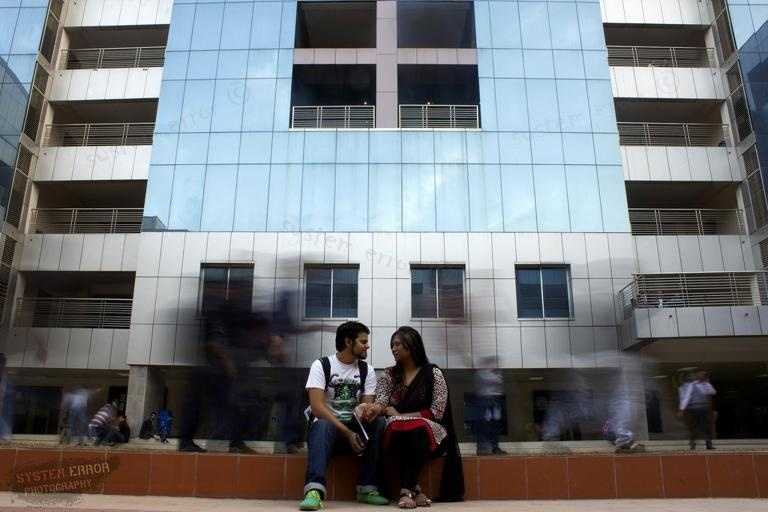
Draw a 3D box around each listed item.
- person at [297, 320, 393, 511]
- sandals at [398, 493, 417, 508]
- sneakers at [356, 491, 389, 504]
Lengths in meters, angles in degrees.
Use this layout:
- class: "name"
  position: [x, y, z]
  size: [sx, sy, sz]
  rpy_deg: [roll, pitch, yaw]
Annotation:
- class: "person"
  position: [-0.700, 2.714, 10.843]
  size: [1.405, 3.157, 0.817]
  rpy_deg: [3, -15, -7]
- class: "sandals"
  position: [0.421, 4.088, 10.332]
  size: [0.377, 0.246, 0.256]
  rpy_deg: [6, -15, -19]
- class: "sneakers"
  position: [-0.213, 4.126, 10.551]
  size: [0.575, 0.224, 0.203]
  rpy_deg: [-2, -13, 13]
